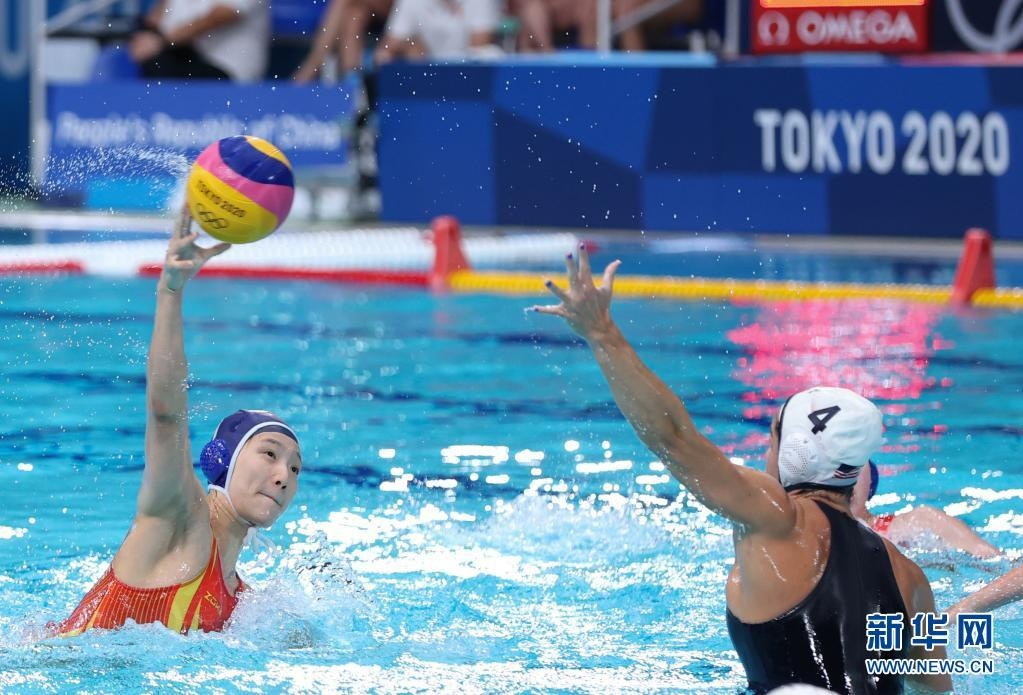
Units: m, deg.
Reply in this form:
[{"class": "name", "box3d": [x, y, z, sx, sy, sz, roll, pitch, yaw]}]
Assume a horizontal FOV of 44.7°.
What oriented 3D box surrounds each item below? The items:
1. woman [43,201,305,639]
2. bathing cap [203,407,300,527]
[{"class": "woman", "box3d": [-0.901, 0.221, 3.611, 0.508, 1.216, 0.549, 3, 4, 36]}, {"class": "bathing cap", "box3d": [-0.811, 0.331, 3.632, 0.299, 0.324, 0.280, -18, -22, 32]}]
